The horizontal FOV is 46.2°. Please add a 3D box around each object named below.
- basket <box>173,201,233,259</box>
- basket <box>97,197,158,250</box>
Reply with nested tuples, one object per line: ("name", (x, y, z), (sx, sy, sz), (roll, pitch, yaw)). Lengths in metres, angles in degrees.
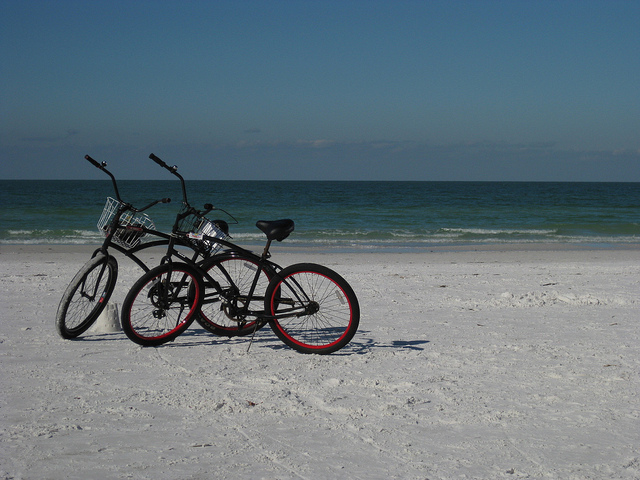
("basket", (-1.235, -0.066, 8.197), (0.721, 0.559, 0.443), (27, 8, -8))
("basket", (-2.112, -0.182, 8.237), (0.604, 0.533, 0.736), (3, 3, -12))
